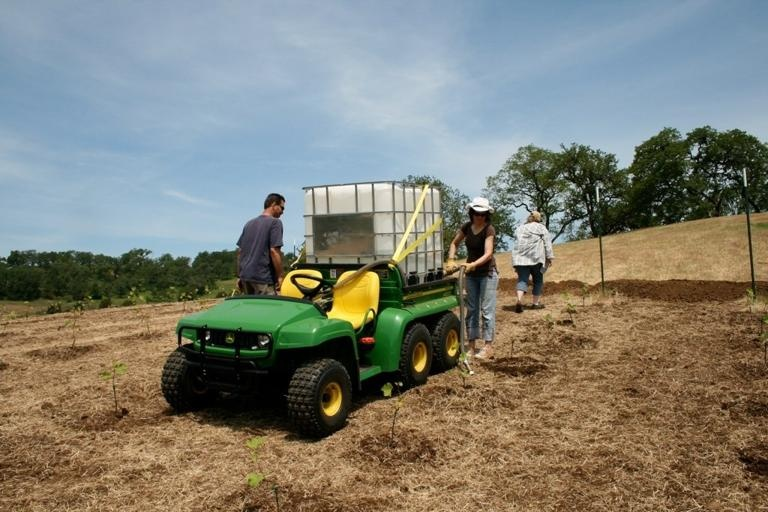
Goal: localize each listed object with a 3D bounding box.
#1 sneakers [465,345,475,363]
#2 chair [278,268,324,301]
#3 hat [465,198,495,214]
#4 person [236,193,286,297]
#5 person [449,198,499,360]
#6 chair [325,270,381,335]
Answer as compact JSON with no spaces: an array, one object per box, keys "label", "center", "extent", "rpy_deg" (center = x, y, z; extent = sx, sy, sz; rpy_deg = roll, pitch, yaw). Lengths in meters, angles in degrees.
[{"label":"sneakers","center":[1.550,1.732,9.362],"extent":[0.150,0.210,0.499],"rpy_deg":[-3,-8,13]},{"label":"chair","center":[-1.302,0.399,8.123],"extent":[0.448,0.591,0.503],"rpy_deg":[7,-16,19]},{"label":"hat","center":[1.651,-0.866,8.843],"extent":[0.418,0.284,0.542],"rpy_deg":[0,-2,1]},{"label":"person","center":[-1.942,-0.188,8.309],"extent":[0.714,1.577,0.569],"rpy_deg":[0,-2,-8]},{"label":"person","center":[1.561,0.421,9.100],"extent":[0.741,2.809,0.921],"rpy_deg":[0,-2,8]},{"label":"chair","center":[-0.453,0.600,7.758],"extent":[0.804,0.795,0.749],"rpy_deg":[-2,-8,24]}]
